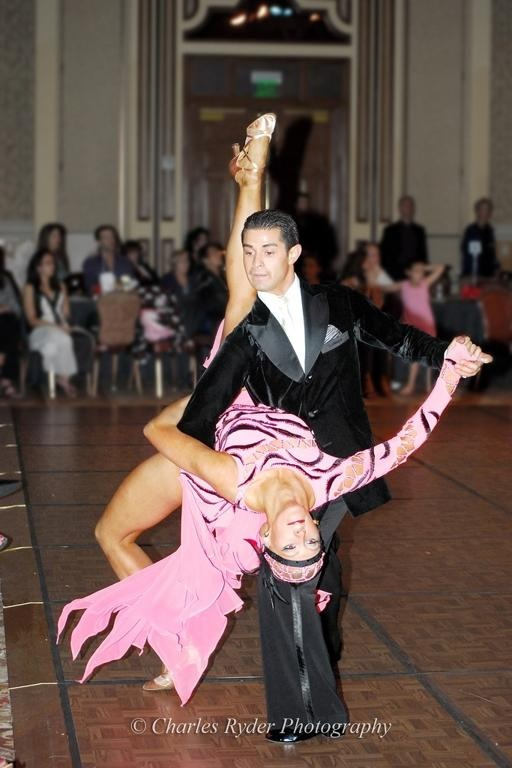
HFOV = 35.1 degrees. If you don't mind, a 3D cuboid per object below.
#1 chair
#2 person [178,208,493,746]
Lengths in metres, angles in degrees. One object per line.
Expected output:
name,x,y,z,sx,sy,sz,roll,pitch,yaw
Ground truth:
chair,-1.052,-0.418,7.749,1.053,1.302,1.007,1,18,3
person,0.184,0.224,1.783,0.473,1.155,0.559,9,9,39
